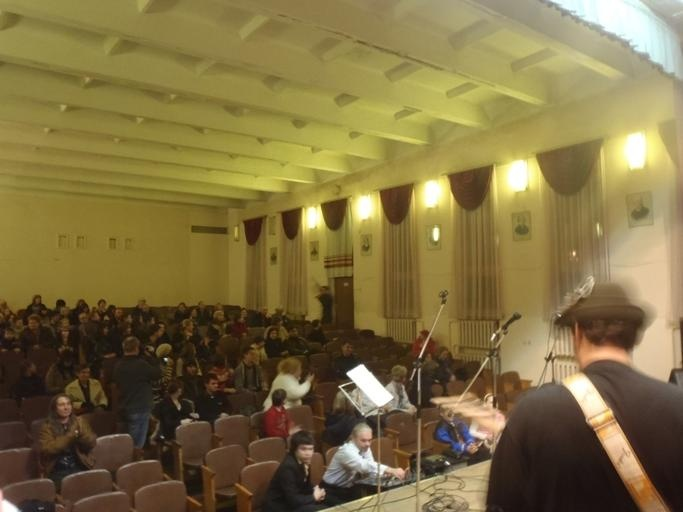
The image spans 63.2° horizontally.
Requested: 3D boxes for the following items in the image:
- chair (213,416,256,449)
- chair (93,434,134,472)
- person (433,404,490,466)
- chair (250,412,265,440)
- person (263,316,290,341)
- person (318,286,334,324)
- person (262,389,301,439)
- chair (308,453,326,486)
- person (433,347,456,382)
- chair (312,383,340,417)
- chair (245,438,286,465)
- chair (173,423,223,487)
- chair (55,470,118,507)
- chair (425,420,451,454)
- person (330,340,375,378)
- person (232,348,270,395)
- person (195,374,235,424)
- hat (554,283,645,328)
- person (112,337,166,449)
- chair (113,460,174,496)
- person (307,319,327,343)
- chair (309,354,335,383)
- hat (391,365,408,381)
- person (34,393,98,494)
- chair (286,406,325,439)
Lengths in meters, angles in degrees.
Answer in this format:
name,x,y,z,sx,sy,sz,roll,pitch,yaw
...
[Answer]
name,x,y,z,sx,sy,sz,roll,pitch,yaw
chair,-1.280,2.081,6.663,0.442,0.462,0.370,5,-13,-22
chair,-2.432,2.089,5.908,0.336,0.478,0.365,4,-10,-24
person,1.400,2.129,6.440,0.332,0.780,0.518,-14,-16,-24
chair,-1.026,2.075,6.794,0.212,0.317,0.241,4,-10,-27
person,-1.418,1.584,12.232,0.452,0.826,0.484,-2,1,-11
person,-0.368,1.176,13.378,0.390,0.896,0.254,-2,-8,-4
person,-0.728,1.891,6.843,0.506,0.832,0.451,-2,-1,-6
chair,-0.245,2.197,5.690,0.184,0.366,0.234,5,-16,-21
person,1.795,1.924,9.556,0.317,0.761,0.255,-3,27,1
chair,-0.243,2.045,7.901,0.331,0.503,0.402,4,-14,-17
chair,-0.804,2.077,5.933,0.248,0.368,0.292,5,-13,-26
chair,-1.697,2.224,6.334,0.518,0.732,0.577,5,-15,-30
chair,-2.304,2.043,5.016,0.335,0.335,0.275,5,-16,-28
chair,1.109,2.192,6.701,0.295,0.420,0.327,5,-8,-35
person,0.093,1.773,8.969,0.429,0.746,0.411,-4,-21,13
person,-1.325,1.755,8.472,0.542,0.868,0.540,-5,-5,43
person,-1.688,1.895,7.420,0.491,0.753,0.502,-10,-9,43
hat,1.276,0.214,2.685,0.347,0.153,0.378,11,17,35
person,-2.417,1.651,6.611,0.552,1.360,1.090,1,-9,-23
chair,-1.941,2.097,5.346,0.389,0.396,0.321,5,-14,-27
person,-0.496,1.607,11.687,0.406,0.525,0.743,-2,-9,-1
chair,-0.327,1.886,9.422,0.304,0.456,0.350,3,-17,-14
hat,0.801,1.610,7.599,0.192,0.204,0.415,-4,-9,9
person,-2.738,1.929,5.492,0.455,0.931,0.500,-1,0,4
chair,-0.444,2.144,7.190,0.362,0.505,0.400,4,-14,-26
